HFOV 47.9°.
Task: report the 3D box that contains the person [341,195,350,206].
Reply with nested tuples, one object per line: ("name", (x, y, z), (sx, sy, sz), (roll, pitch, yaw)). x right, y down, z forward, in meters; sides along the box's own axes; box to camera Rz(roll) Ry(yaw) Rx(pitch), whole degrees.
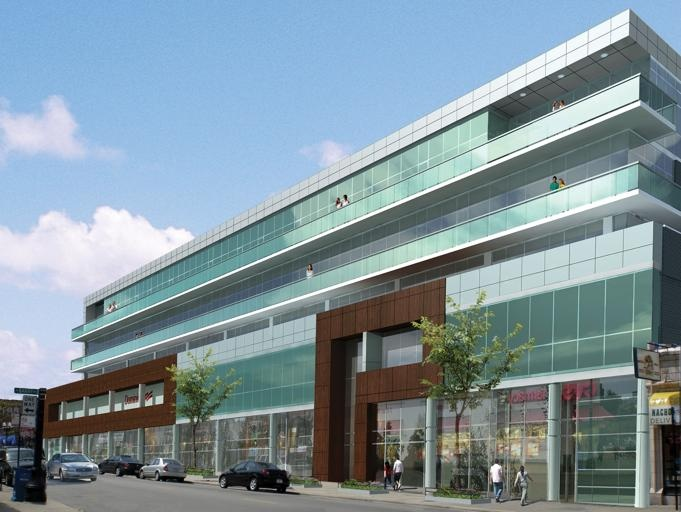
("person", (0.387, -3.848, 52.778), (0.400, 1.216, 0.668), (7, -13, -19))

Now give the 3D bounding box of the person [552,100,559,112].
("person", (11.807, -8.164, 42.002), (0.384, 1.317, 0.534), (-2, -64, 16))

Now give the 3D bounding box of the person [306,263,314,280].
("person", (-2.170, 1.069, 55.107), (0.564, 1.098, 0.584), (-21, -44, 28))
